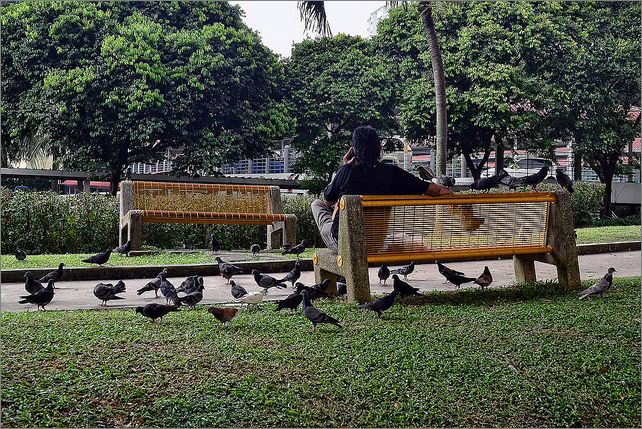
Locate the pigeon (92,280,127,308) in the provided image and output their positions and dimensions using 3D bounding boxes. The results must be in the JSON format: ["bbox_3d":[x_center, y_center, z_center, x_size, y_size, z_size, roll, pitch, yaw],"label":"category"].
[{"bbox_3d":[-3.741,1.393,11.787,0.470,0.396,0.558,-3,8,-15],"label":"pigeon"}]

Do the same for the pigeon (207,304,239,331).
[{"bbox_3d":[-1.429,1.461,9.849,0.471,0.303,0.229,1,-7,-4],"label":"pigeon"}]

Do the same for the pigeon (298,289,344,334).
[{"bbox_3d":[0.010,1.413,9.640,0.741,0.539,0.223,5,8,31],"label":"pigeon"}]

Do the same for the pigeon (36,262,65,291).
[{"bbox_3d":[-5.435,1.194,13.154,0.754,0.570,0.369,-3,-4,-16],"label":"pigeon"}]

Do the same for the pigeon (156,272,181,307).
[{"bbox_3d":[-2.555,1.270,11.278,0.236,0.470,0.649,-13,18,-36],"label":"pigeon"}]

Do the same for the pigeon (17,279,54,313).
[{"bbox_3d":[-4.799,1.339,11.316,0.550,0.546,0.320,11,-1,-2],"label":"pigeon"}]

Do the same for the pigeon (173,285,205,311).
[{"bbox_3d":[-2.211,1.433,11.241,0.393,0.315,0.670,-2,8,-8],"label":"pigeon"}]

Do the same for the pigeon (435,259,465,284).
[{"bbox_3d":[2.649,1.152,12.950,0.676,0.476,0.268,1,-25,-28],"label":"pigeon"}]

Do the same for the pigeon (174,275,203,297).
[{"bbox_3d":[-2.249,1.259,11.691,0.567,0.358,0.239,1,4,-35],"label":"pigeon"}]

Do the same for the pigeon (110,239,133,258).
[{"bbox_3d":[-5.032,0.851,16.674,0.654,0.405,0.425,6,10,43],"label":"pigeon"}]

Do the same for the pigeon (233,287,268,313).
[{"bbox_3d":[-1.144,1.406,10.968,0.440,0.337,0.248,14,4,-22],"label":"pigeon"}]

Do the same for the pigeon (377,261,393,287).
[{"bbox_3d":[1.254,1.230,13.690,0.282,0.488,0.607,3,4,12],"label":"pigeon"}]

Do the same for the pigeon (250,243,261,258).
[{"bbox_3d":[-1.664,0.901,16.761,0.228,0.325,0.316,1,4,-7],"label":"pigeon"}]

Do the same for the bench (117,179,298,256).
[{"bbox_3d":[-3.033,0.033,18.208,4.485,1.873,1.666,1,-1,-23],"label":"bench"}]

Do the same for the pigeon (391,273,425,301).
[{"bbox_3d":[1.431,1.232,11.030,0.469,0.393,0.635,0,8,6],"label":"pigeon"}]

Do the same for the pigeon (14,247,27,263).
[{"bbox_3d":[-6.886,0.926,15.185,0.189,0.297,0.454,-5,-7,-5],"label":"pigeon"}]

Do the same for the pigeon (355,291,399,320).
[{"bbox_3d":[0.861,1.347,10.108,0.639,0.460,0.219,4,2,6],"label":"pigeon"}]

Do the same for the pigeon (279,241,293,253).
[{"bbox_3d":[-0.900,0.877,17.450,0.381,0.411,0.208,-4,2,-3],"label":"pigeon"}]

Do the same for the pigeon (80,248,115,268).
[{"bbox_3d":[-4.990,0.986,14.821,0.558,0.334,0.502,-4,8,-23],"label":"pigeon"}]
